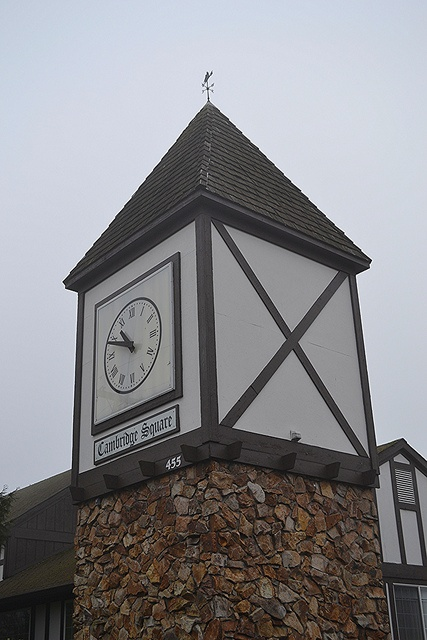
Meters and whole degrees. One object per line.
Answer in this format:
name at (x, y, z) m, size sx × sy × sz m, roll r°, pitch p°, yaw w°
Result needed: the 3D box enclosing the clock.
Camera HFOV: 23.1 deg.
clock at (-1.006, 0.387, 13.832) m, size 0.125 × 2.040 × 1.991 m, roll 16°, pitch -29°, yaw -33°
